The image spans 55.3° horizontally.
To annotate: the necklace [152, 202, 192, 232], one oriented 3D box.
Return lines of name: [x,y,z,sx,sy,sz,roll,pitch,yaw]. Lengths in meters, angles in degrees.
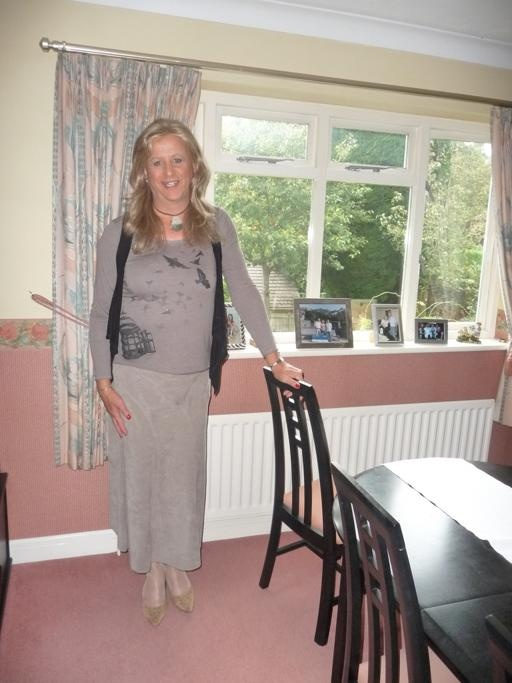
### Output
necklace: [-0.278,-0.401,1.579,0.091,0.087,0.010,-4,1,-17]

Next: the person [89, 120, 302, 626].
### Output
person: [-0.213,0.130,1.712,0.622,1.654,0.393,2,11,4]

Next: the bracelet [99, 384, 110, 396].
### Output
bracelet: [-0.502,0.151,1.612,0.029,0.039,0.034,2,37,-17]
